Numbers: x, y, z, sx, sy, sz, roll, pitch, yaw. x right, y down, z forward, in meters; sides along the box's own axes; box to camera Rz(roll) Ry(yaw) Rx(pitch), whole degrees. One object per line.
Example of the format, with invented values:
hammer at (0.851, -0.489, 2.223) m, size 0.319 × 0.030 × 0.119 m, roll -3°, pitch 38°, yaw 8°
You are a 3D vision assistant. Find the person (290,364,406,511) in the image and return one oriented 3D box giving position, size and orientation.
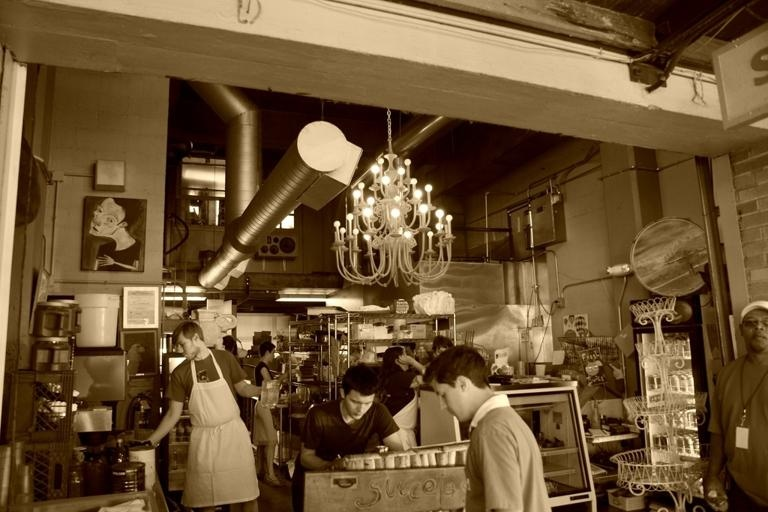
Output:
person at (-0.300, 1.450, 5.624) m, size 0.867 × 1.135 × 0.533 m, roll 0°, pitch -10°, yaw -8°

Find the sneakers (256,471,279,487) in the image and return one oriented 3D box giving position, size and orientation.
sneakers at (-1.549, 2.912, 9.221) m, size 0.402 × 0.169 × 0.150 m, roll -4°, pitch -18°, yaw 33°
